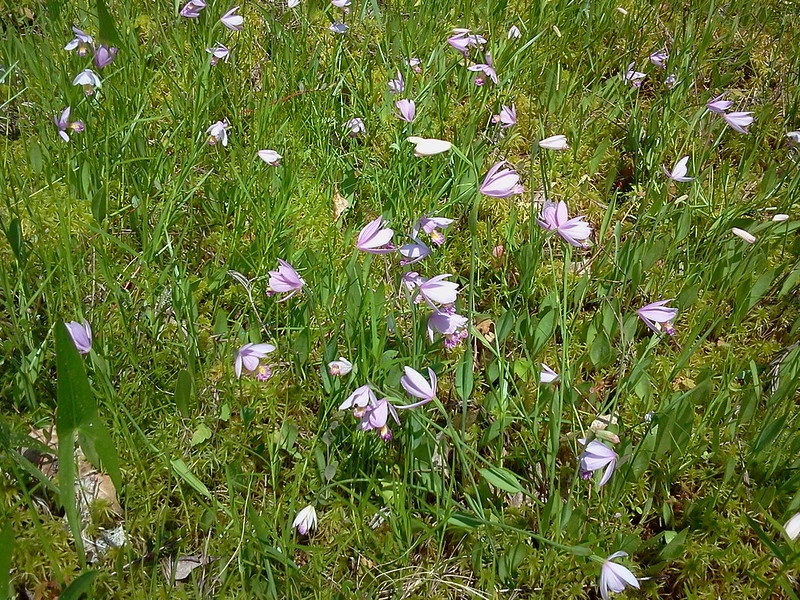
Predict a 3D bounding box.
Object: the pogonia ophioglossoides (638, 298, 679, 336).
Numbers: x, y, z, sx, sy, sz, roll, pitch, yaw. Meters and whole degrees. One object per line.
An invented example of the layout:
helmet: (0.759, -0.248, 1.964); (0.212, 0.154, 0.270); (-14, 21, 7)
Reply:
pogonia ophioglossoides: (0.902, 0.073, 2.681); (0.060, 0.125, 0.143); (19, 80, 54)
